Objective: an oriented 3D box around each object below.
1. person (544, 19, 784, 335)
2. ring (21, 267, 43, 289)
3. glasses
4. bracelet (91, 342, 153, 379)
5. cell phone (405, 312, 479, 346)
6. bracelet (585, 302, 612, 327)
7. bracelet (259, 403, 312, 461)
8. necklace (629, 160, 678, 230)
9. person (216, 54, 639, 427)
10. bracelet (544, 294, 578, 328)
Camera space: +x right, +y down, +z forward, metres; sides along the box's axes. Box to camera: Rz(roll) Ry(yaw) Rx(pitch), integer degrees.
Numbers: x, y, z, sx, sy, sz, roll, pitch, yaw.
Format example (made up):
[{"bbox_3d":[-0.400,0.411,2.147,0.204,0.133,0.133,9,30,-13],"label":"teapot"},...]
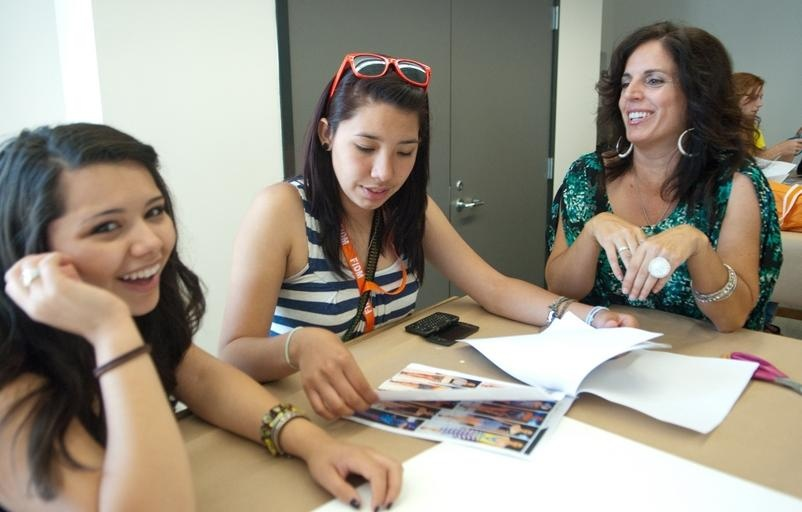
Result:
[{"bbox_3d":[1.002,-0.287,2.323,0.829,1.194,0.833,-7,10,-27],"label":"person"},{"bbox_3d":[-0.778,0.044,1.238,0.041,0.042,0.031,-7,11,-22],"label":"ring"},{"bbox_3d":[-0.068,-0.578,1.869,0.326,0.137,0.133,-2,18,-1],"label":"glasses"},{"bbox_3d":[-0.597,0.225,1.246,0.079,0.022,0.084,-28,4,-13],"label":"bracelet"},{"bbox_3d":[0.130,0.238,1.878,0.117,0.027,0.128,15,31,35],"label":"cell phone"},{"bbox_3d":[0.637,0.195,1.888,0.021,0.062,0.061,29,-4,29],"label":"bracelet"},{"bbox_3d":[-0.290,0.431,1.428,0.099,0.113,0.041,-5,-3,-34],"label":"bracelet"},{"bbox_3d":[0.997,-0.234,2.287,0.199,0.291,0.070,6,1,27],"label":"necklace"},{"bbox_3d":[0.006,-0.185,2.271,1.229,1.679,1.047,14,25,32],"label":"person"},{"bbox_3d":[0.528,0.187,1.953,0.101,0.059,0.075,-52,10,-25],"label":"bracelet"}]
